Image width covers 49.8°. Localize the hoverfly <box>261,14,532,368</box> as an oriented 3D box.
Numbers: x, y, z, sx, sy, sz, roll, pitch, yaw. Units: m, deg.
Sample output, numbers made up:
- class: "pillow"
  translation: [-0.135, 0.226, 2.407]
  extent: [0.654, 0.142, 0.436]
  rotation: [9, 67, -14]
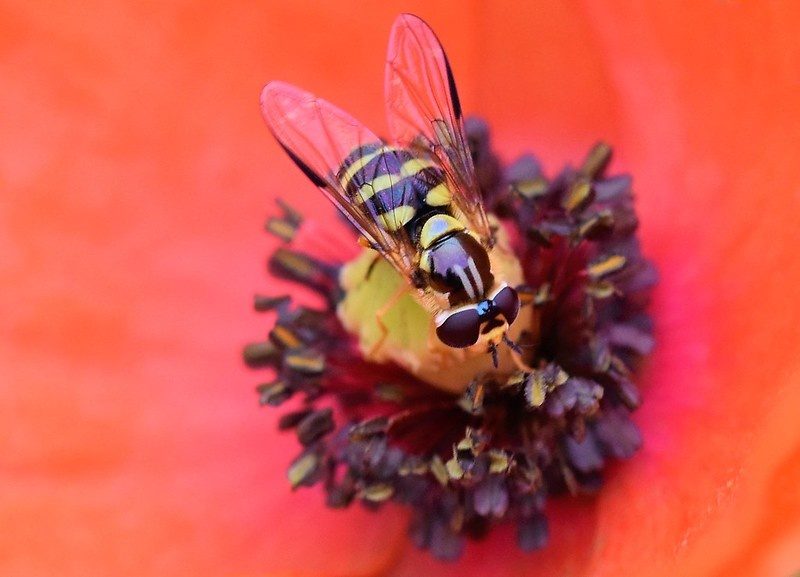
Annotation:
- class: "hoverfly"
  translation: [-0.001, -0.183, 1.860]
  extent: [0.470, 0.732, 0.218]
  rotation: [-30, -7, -4]
